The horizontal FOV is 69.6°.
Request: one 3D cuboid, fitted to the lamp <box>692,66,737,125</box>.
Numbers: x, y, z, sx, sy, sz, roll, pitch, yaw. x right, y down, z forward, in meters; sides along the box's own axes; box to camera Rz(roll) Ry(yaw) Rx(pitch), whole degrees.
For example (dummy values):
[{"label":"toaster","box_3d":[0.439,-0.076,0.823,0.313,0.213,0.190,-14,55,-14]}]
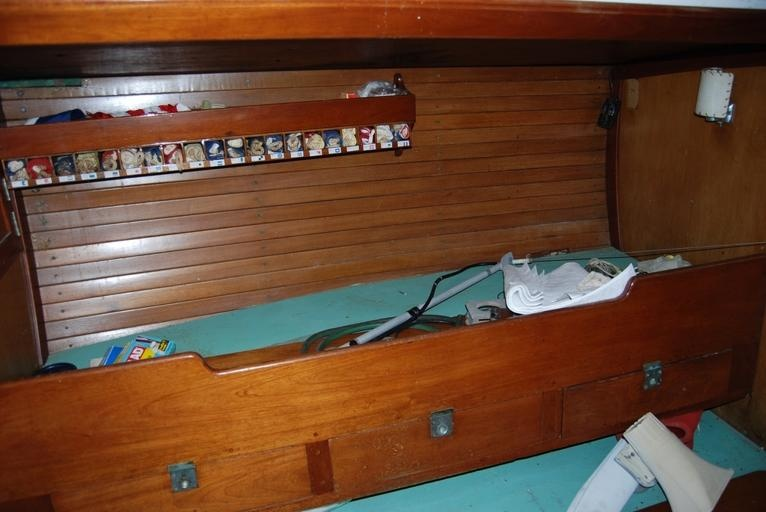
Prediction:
[{"label":"lamp","box_3d":[2.162,-1.037,3.591,0.228,0.361,0.149,2,18,35]}]
